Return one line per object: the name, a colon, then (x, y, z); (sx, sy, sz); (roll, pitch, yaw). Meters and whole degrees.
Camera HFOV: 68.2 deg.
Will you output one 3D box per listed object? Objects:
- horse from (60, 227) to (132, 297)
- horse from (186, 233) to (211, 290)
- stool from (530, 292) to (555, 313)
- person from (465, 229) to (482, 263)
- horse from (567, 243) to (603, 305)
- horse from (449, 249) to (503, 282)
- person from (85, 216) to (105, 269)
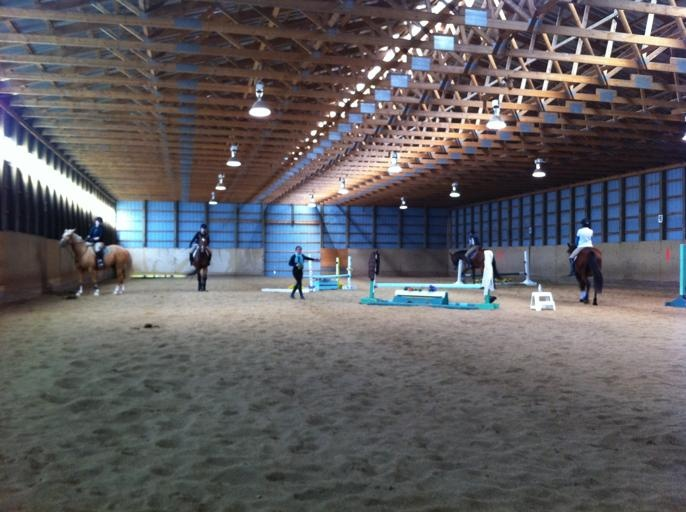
horse: (-7.986, 0.234, 16.491); (0.699, 1.899, 2.658); (-6, -7, 30)
horse: (-5.611, 0.397, 20.134); (0.709, 2.081, 3.168); (2, -13, -16)
stool: (5.073, 1.175, 13.118); (0.675, 0.517, 0.571); (0, -4, -20)
person: (5.785, -0.382, 22.503); (0.593, 1.236, 1.420); (1, 3, 12)
horse: (7.145, 0.221, 15.056); (0.665, 1.807, 2.667); (-3, 12, 13)
horse: (6.068, 0.396, 23.052); (0.611, 1.427, 2.446); (-22, 7, -34)
person: (-8.120, -0.447, 16.698); (0.514, 1.700, 1.348); (-1, 4, -25)
